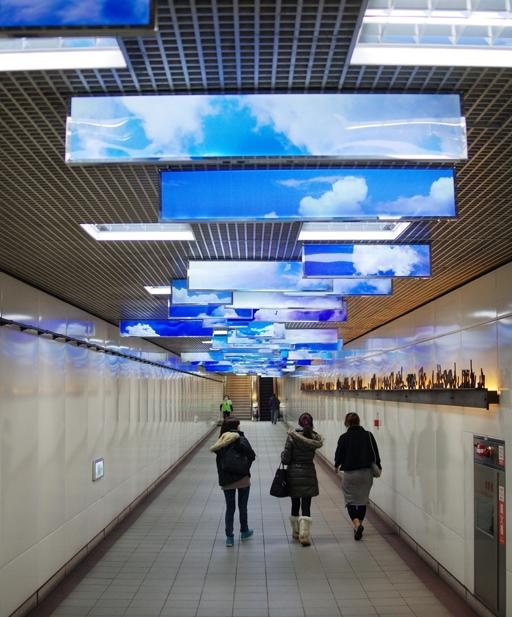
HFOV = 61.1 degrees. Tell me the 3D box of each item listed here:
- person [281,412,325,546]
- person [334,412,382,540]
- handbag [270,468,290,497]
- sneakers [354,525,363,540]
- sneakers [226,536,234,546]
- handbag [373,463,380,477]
[{"bbox_3d":[0.685,2.565,6.531,0.612,1.889,0.934,-1,-12,6],"label":"person"},{"bbox_3d":[1.550,2.592,6.661,0.670,1.904,0.458,-2,-12,10],"label":"person"},{"bbox_3d":[0.350,2.557,6.389,0.261,0.451,0.424,0,-12,3],"label":"handbag"},{"bbox_3d":[1.574,3.449,6.651,0.105,0.128,0.298,0,-46,-3],"label":"sneakers"},{"bbox_3d":[-0.393,3.408,6.352,0.067,0.083,0.192,1,-4,1],"label":"sneakers"},{"bbox_3d":[1.850,2.506,6.698,0.105,0.205,0.329,-4,-13,19],"label":"handbag"}]
